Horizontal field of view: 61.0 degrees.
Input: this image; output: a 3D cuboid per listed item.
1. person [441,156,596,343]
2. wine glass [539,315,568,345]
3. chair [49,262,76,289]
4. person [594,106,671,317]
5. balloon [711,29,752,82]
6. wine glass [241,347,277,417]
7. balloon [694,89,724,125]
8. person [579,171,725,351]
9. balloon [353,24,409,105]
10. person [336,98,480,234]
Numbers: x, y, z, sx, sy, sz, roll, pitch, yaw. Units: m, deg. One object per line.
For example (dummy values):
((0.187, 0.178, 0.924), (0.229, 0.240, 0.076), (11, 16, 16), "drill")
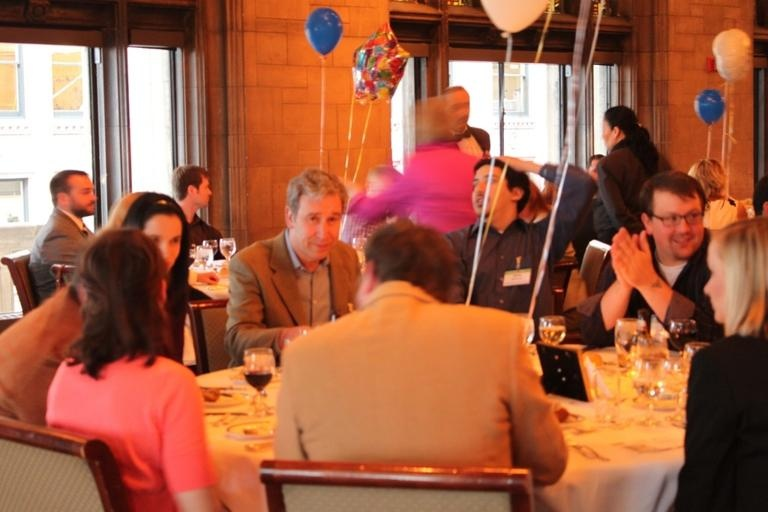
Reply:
((0.579, 0.041, 3.539), (1.080, 1.205, 0.562), (-2, -9, -5), "person")
((0.673, 0.311, 2.695), (0.137, 0.157, 0.143), (1, -9, -3), "wine glass")
((-2.014, 0.124, 4.050), (0.161, 0.163, 0.177), (3, -16, -13), "chair")
((2.069, -0.430, 5.667), (0.690, 1.720, 0.672), (-20, 27, -21), "person")
((4.131, -2.351, 7.752), (0.431, 0.612, 0.438), (5, 12, 33), "balloon")
((-0.434, 0.433, 2.254), (0.105, 0.224, 0.095), (-4, 5, -28), "wine glass")
((3.877, -1.750, 7.748), (0.358, 0.453, 0.360), (6, 20, 28), "balloon")
((1.259, 0.106, 3.073), (0.673, 0.927, 0.628), (6, 4, 7), "person")
((-0.071, -1.812, 6.138), (0.269, 0.648, 0.620), (-7, 10, -43), "balloon")
((0.275, -0.515, 5.019), (0.798, 1.261, 0.842), (13, 18, 15), "person")
